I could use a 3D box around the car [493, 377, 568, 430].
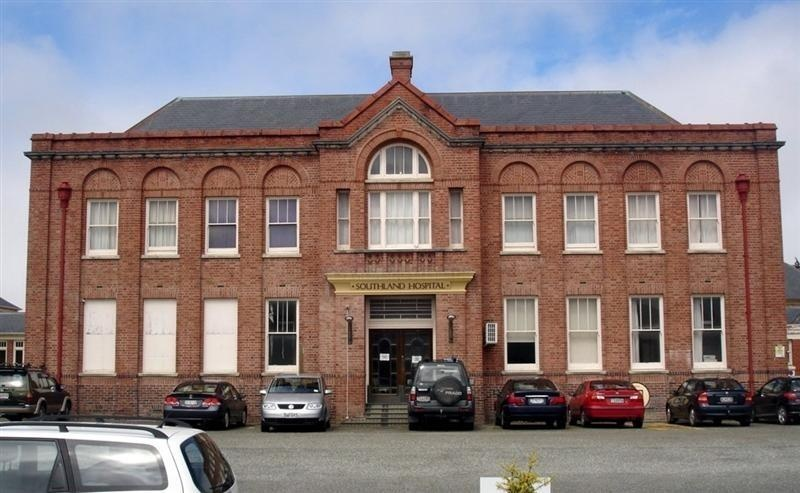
[{"bbox_3d":[5.329,6.356,49.747,2.552,1.779,5.653,0,-2,-3],"label":"car"}]

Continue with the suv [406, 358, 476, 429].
[{"bbox_3d":[1.879,5.883,49.455,3.282,3.115,6.619,1,-14,-4],"label":"suv"}]

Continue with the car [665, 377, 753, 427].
[{"bbox_3d":[12.516,6.360,48.356,1.590,1.923,3.232,10,-17,-40],"label":"car"}]

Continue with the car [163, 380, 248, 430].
[{"bbox_3d":[-8.140,6.536,49.650,2.592,1.723,5.672,2,-6,7],"label":"car"}]

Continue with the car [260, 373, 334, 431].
[{"bbox_3d":[-4.228,6.224,49.083,2.869,2.038,5.009,0,1,6],"label":"car"}]
